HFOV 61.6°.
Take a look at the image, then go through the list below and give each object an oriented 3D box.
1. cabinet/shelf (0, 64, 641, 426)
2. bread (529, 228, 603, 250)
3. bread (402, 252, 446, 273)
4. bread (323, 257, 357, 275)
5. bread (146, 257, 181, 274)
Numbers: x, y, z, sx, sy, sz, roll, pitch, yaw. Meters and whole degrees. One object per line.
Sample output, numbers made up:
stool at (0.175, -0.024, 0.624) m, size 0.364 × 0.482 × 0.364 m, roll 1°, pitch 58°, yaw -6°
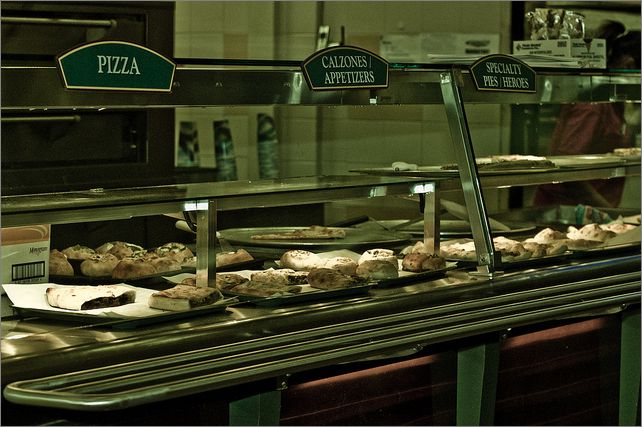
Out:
cabinet/shelf at (0.037, -0.010, 1.621) m, size 1.818 × 0.891 × 0.512 m, roll -5°, pitch 10°, yaw -26°
bread at (1.013, 0.111, 2.240) m, size 0.187 × 0.043 × 0.146 m, roll -1°, pitch 4°, yaw -6°
bread at (0.347, 0.168, 1.821) m, size 0.169 × 0.069 × 0.053 m, roll -1°, pitch 5°, yaw -15°
bread at (0.067, 0.173, 1.797) m, size 0.066 × 0.032 × 0.068 m, roll 6°, pitch 1°, yaw 9°
bread at (-0.495, 0.164, 1.707) m, size 0.062 × 0.025 × 0.059 m, roll 2°, pitch -1°, yaw 28°
